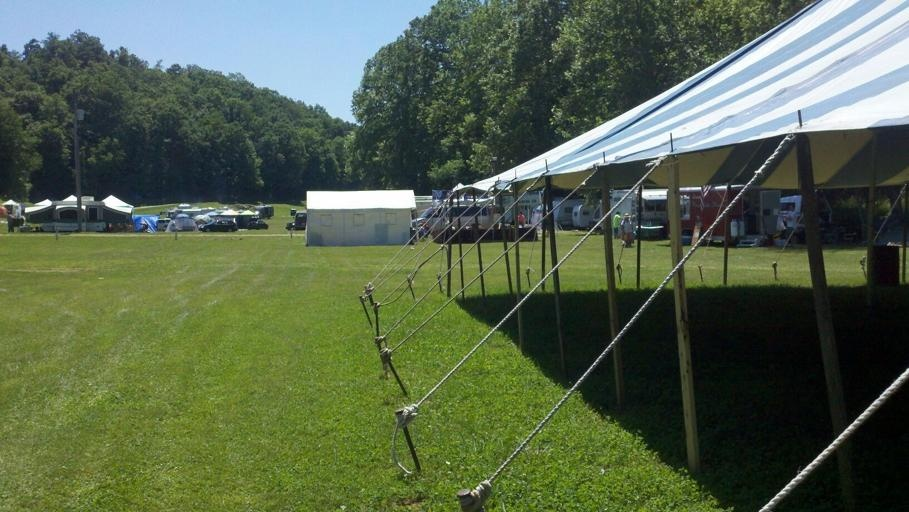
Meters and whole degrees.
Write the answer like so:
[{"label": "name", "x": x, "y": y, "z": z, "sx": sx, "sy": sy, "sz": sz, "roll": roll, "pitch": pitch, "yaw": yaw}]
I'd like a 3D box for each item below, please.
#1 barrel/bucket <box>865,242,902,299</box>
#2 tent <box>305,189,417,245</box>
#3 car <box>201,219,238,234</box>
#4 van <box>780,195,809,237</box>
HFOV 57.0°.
[{"label": "barrel/bucket", "x": 10.542, "y": 0.339, "z": 20.618, "sx": 0.623, "sy": 1.266, "sz": 2.039, "roll": 4, "pitch": 4, "yaw": 33}, {"label": "tent", "x": -4.191, "y": -1.607, "z": 37.187, "sx": 4.531, "sy": 2.352, "sz": 1.872, "roll": 1, "pitch": 3, "yaw": -8}, {"label": "car", "x": -14.275, "y": -1.757, "z": 50.763, "sx": 1.982, "sy": 0.709, "sz": 0.965, "roll": 2, "pitch": -1, "yaw": -8}, {"label": "van", "x": 13.489, "y": -1.674, "z": 33.518, "sx": 0.836, "sy": 1.606, "sz": 8.009, "roll": 3, "pitch": 4, "yaw": 22}]
